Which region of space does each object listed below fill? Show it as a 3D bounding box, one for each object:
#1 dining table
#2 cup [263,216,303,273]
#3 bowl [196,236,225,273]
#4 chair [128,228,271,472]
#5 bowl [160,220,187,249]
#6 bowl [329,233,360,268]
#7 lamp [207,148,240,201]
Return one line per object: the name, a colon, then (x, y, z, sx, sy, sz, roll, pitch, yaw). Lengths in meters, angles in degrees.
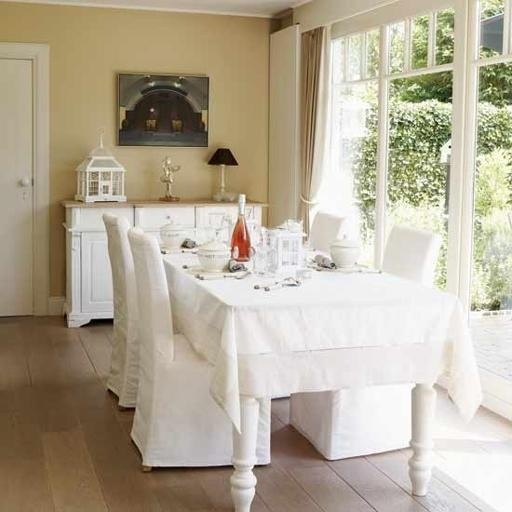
dining table: (0.176, 0.212, 1.795, 0.682, 0.587, 0.996, -2, 6, -23)
cup: (0.100, -0.070, 2.336, 0.186, 0.337, 0.217, -2, 8, -12)
bowl: (-0.201, -0.008, 2.193, 0.118, 0.134, 0.117, 1, 14, 0)
chair: (-0.254, 0.316, 2.627, 0.746, 1.595, 0.826, -1, 6, -11)
bowl: (-0.492, -0.129, 2.869, 0.140, 0.182, 0.156, 0, 5, -4)
bowl: (0.441, -0.026, 2.392, 0.129, 0.173, 0.136, -1, 10, 0)
lamp: (-0.343, -0.835, 4.978, 0.262, 0.538, 0.288, 0, 3, -11)
